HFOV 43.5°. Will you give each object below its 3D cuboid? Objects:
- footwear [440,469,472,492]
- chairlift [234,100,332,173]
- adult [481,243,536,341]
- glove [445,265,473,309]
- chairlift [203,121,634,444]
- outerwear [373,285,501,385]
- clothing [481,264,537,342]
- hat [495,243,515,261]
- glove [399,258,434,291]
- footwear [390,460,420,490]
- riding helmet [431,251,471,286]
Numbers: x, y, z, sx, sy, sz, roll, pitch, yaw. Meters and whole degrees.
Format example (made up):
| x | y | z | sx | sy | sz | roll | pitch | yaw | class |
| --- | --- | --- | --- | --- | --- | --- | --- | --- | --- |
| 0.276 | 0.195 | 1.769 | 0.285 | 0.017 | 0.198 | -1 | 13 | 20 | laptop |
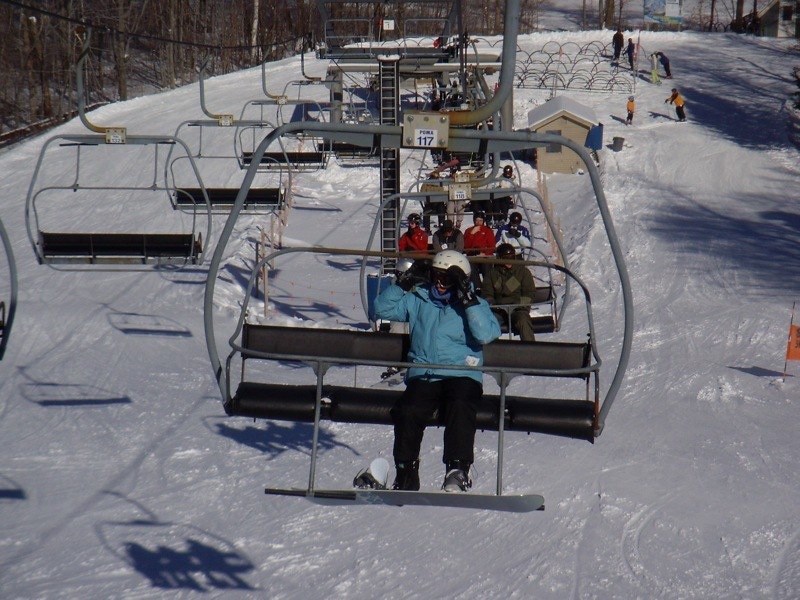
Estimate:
| x | y | z | sx | sy | sz | roll | pitch | yaw | class |
| --- | --- | --- | --- | --- | --- | --- | --- | --- | --- |
| 0.688 | 2.257 | 12.097 | 0.326 | 0.258 | 0.388 | 1 | 25 | 0 | footwear |
| -2.988 | -4.233 | 25.670 | 2.218 | 2.007 | 1.945 | -3 | 23 | -28 | chairlift |
| 1.743 | 0.096 | 16.353 | 0.830 | 2.027 | 1.202 | -1 | 3 | 15 | adult |
| 0.794 | -0.157 | 12.765 | 0.209 | 0.533 | 0.302 | -26 | 11 | -18 | glove |
| 0.311 | -0.254 | 17.146 | 5.885 | 4.762 | 2.701 | 2 | 37 | 2 | chairlift |
| 0.475 | 0.465 | 13.078 | 1.637 | 1.484 | 0.968 | 3 | -5 | 12 | outerwear |
| 1.733 | 0.044 | 16.304 | 0.785 | 1.943 | 1.094 | 0 | -2 | 3 | clothing |
| 1.713 | -0.756 | 15.980 | 0.291 | 0.342 | 0.393 | 1 | -3 | -12 | hat |
| 0.205 | -0.320 | 13.084 | 0.434 | 0.330 | 0.434 | -16 | 46 | 37 | glove |
| 0.081 | 2.249 | 12.260 | 0.310 | 0.349 | 0.481 | 1 | 25 | -1 | footwear |
| 0.661 | -0.434 | 12.813 | 0.354 | 0.432 | 0.432 | 20 | -8 | 46 | riding helmet |
